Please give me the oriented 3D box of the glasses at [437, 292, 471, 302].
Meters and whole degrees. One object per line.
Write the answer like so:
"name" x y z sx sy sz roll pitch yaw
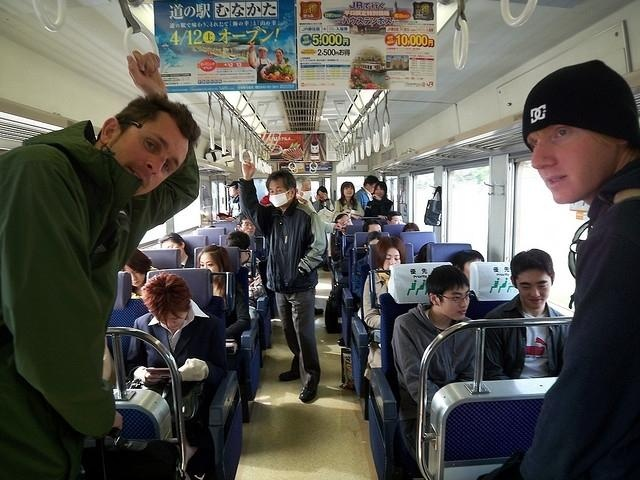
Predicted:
"glasses" 0.851 0.356 2.967 0.183 0.050 0.060 4 2 5

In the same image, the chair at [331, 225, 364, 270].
"chair" 0.401 0.063 7.862 0.579 0.715 0.667 1 6 1

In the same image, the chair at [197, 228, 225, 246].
"chair" -1.629 -0.075 7.059 0.334 0.356 0.351 0 -6 -3

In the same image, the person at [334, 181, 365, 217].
"person" 0.597 -0.720 9.624 0.591 0.946 0.638 2 2 22

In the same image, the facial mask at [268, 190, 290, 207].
"facial mask" -0.353 -0.391 4.324 0.153 0.084 0.146 -5 14 9

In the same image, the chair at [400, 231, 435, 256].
"chair" 1.270 0.053 6.030 0.330 0.461 0.387 0 -1 -6

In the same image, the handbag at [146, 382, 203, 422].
"handbag" -0.802 0.977 2.694 0.244 0.291 0.095 1 -35 -2

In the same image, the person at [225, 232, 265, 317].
"person" -0.882 0.379 5.591 0.470 0.652 0.705 -4 42 -26

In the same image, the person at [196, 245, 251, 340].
"person" -0.838 0.449 4.230 0.523 0.828 0.796 -1 1 -4

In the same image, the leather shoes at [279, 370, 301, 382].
"leather shoes" -0.300 1.366 4.691 0.224 0.150 0.080 5 -16 0

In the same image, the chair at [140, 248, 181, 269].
"chair" -1.476 0.147 4.397 0.225 0.308 0.229 1 4 4

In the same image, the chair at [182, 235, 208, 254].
"chair" -1.562 0.030 5.928 0.285 0.391 0.301 0 4 -6

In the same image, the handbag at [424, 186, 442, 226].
"handbag" 2.199 -0.628 8.815 0.209 0.500 0.587 3 2 -8

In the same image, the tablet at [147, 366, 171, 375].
"tablet" -0.925 0.757 2.703 0.095 0.022 0.093 5 -11 -7

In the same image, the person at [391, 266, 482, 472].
"person" 0.872 0.723 2.971 0.768 0.985 0.802 1 5 6

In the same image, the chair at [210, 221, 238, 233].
"chair" -1.638 -0.247 8.108 0.362 0.340 0.265 1 1 -4
